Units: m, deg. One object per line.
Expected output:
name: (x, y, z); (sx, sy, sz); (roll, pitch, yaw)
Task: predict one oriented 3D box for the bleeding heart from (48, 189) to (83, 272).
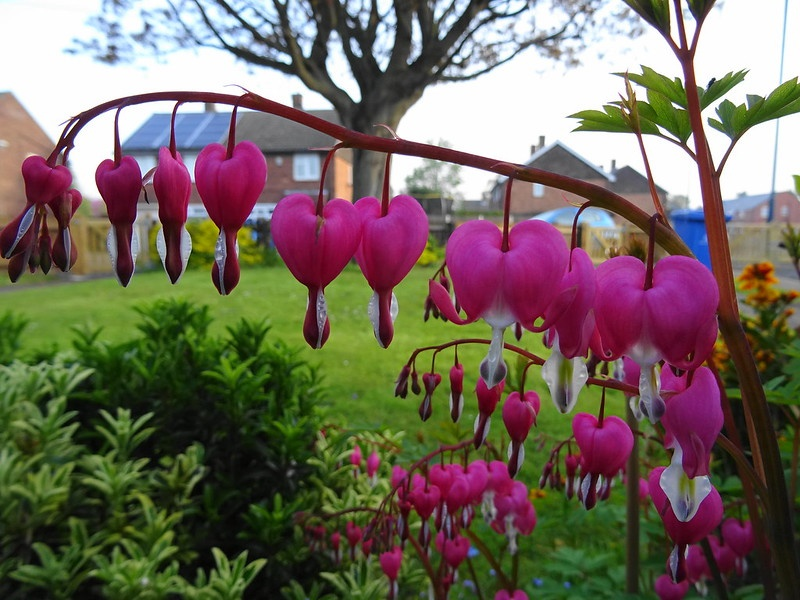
bleeding heart: (-1.015, -0.217, 2.062); (0.081, 0.313, 0.078); (0, 12, 5)
